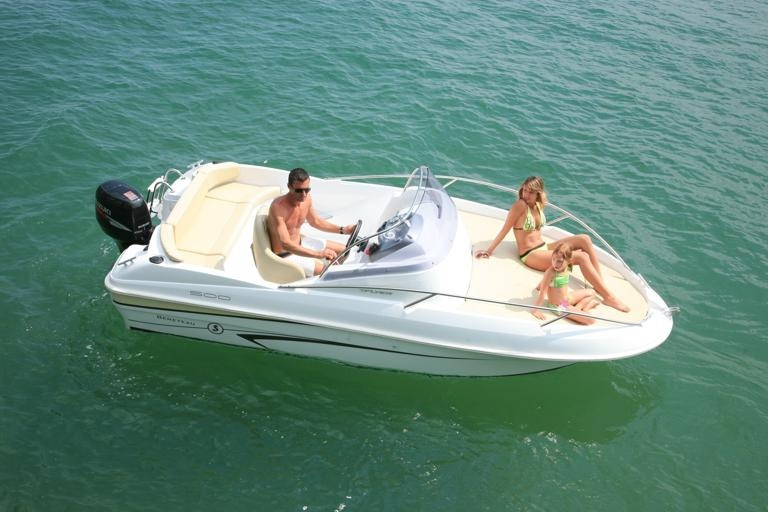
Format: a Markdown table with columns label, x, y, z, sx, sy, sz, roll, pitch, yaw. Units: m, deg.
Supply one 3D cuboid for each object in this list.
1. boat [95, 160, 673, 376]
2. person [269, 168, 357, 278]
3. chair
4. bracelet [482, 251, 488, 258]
| label | x | y | z | sx | sy | sz | roll | pitch | yaw |
| --- | --- | --- | --- | --- | --- | --- | --- | --- | --- |
| boat | -0.493 | 0.647 | 14.311 | 10.476 | 3.177 | 3.633 | 8 | 48 | 0 |
| person | -1.245 | -0.502 | 13.576 | 1.296 | 1.849 | 0.922 | 15 | 52 | 5 |
| chair | -1.743 | -0.159 | 13.393 | 1.019 | 0.925 | 1.027 | 8 | 35 | -5 |
| bracelet | 1.779 | -0.022 | 13.747 | 0.086 | 0.038 | 0.097 | -24 | 59 | -9 |
